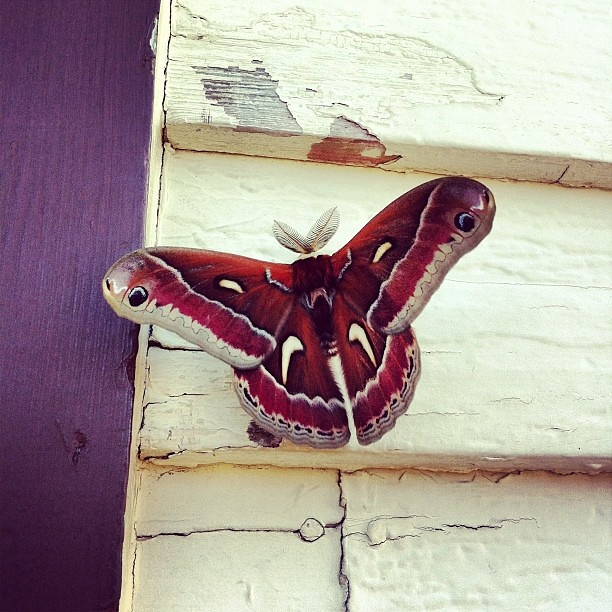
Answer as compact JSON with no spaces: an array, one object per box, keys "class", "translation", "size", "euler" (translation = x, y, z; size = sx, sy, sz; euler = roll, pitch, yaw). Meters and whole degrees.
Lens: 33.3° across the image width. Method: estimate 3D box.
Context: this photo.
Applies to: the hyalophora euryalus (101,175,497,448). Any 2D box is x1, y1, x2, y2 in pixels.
[{"class":"hyalophora euryalus","translation":[-0.035,-0.024,1.902],"size":[0.589,0.474,0.379],"euler":[17,44,8]}]
